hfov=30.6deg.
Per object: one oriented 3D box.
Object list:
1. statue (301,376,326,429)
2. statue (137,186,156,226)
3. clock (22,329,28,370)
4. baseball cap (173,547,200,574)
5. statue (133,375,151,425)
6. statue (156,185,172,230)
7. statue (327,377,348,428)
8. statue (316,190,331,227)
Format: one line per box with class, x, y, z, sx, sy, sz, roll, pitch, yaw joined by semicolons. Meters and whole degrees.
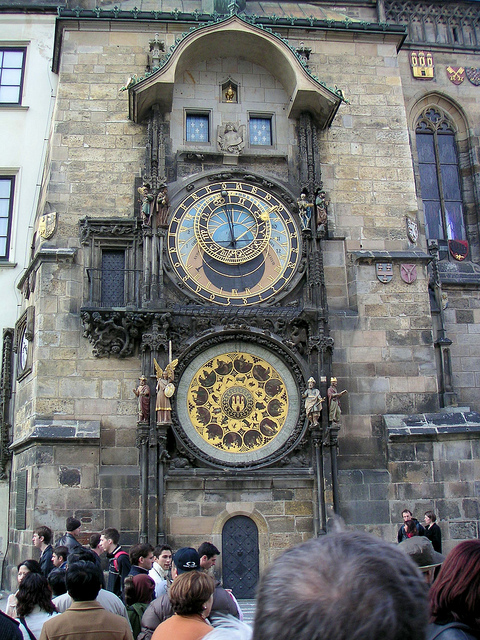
statue;1.269;1.483;15.401;0.404;0.877;0.335;-5;-19;4
statue;-1.727;-2.097;16.299;0.273;0.726;0.327;-2;-19;-5
clock;-4.186;0.612;17.107;0.060;0.810;0.877;3;-2;-22
baseball cap;-0.389;1.760;6.379;0.149;0.113;0.212;1;3;-6
statue;-1.663;1.361;15.034;0.251;0.924;0.409;-2;-19;-4
statue;-1.452;-2.127;16.461;0.282;0.892;0.428;-4;-19;3
statue;1.680;1.482;15.500;0.292;0.894;0.560;-5;-18;4
statue;1.547;-2.147;16.942;0.222;0.750;0.341;-5;-19;5
